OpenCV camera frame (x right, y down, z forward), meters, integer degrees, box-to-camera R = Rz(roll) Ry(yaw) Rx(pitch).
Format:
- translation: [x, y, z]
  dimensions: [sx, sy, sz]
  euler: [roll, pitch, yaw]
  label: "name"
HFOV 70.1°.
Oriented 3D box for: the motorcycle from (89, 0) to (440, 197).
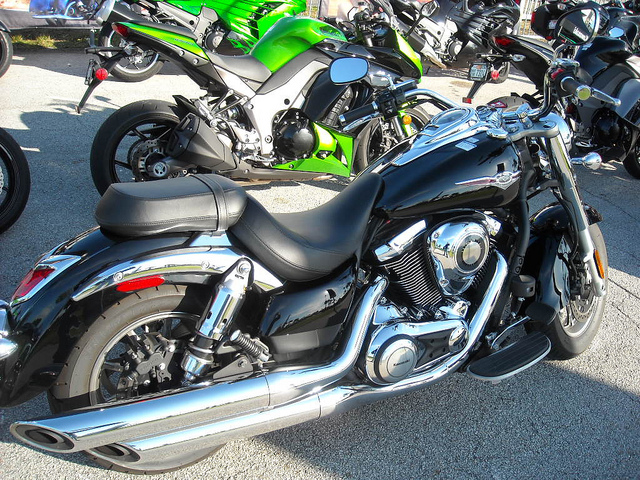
- translation: [-0.526, -1.511, 4.799]
  dimensions: [3.794, 1.790, 1.783]
  euler: [-10, 26, -23]
  label: "motorcycle"
